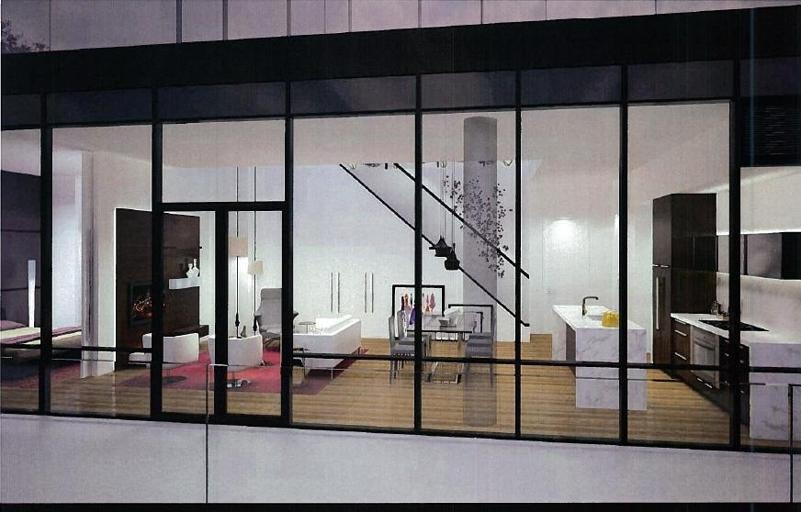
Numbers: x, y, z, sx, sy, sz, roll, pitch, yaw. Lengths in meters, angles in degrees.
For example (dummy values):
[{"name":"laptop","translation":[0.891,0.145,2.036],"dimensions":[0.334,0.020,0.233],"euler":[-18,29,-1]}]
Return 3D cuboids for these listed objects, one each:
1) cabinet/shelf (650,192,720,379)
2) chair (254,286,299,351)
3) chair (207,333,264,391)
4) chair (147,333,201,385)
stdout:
[{"name":"cabinet/shelf","translation":[2.507,0.196,6.682],"dimensions":[0.633,1.337,0.262],"euler":[9,5,27]},{"name":"chair","translation":[-1.207,0.598,7.287],"dimensions":[0.406,0.554,0.383],"euler":[-1,0,1]},{"name":"chair","translation":[-1.597,0.993,7.218],"dimensions":[0.395,0.535,0.439],"euler":[0,1,7]},{"name":"chair","translation":[-2.214,0.930,7.259],"dimensions":[0.474,0.629,0.478],"euler":[1,0,-35]}]
